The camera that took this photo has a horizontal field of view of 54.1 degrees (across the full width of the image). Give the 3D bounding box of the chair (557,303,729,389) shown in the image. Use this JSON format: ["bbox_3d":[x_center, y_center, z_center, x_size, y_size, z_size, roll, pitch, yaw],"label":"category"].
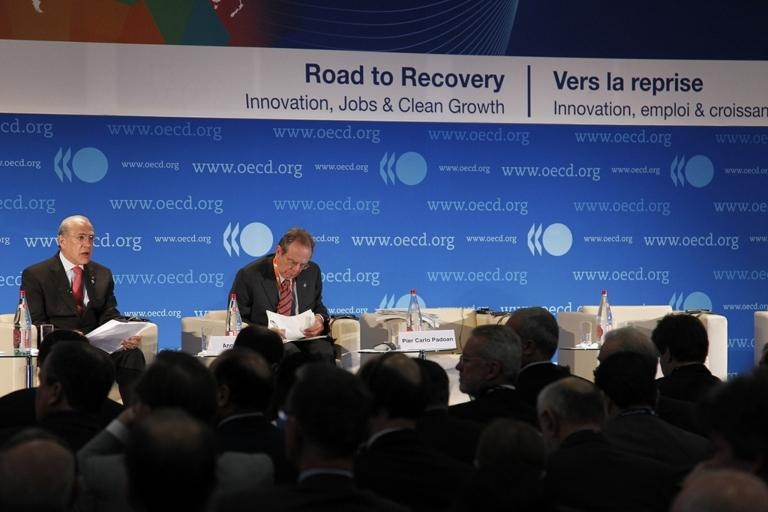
[{"bbox_3d":[2.050,0.625,6.428,1.209,0.821,0.838,1,-7,-8],"label":"chair"}]

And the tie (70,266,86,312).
[{"bbox_3d":[-2.361,0.237,5.810,0.093,0.377,0.043,-14,42,-33],"label":"tie"}]

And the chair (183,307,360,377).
[{"bbox_3d":[-1.125,0.631,6.093,0.921,0.620,0.634,2,-7,-27],"label":"chair"}]

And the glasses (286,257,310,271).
[{"bbox_3d":[-0.675,0.063,5.815,0.148,0.070,0.093,0,1,-14],"label":"glasses"}]
